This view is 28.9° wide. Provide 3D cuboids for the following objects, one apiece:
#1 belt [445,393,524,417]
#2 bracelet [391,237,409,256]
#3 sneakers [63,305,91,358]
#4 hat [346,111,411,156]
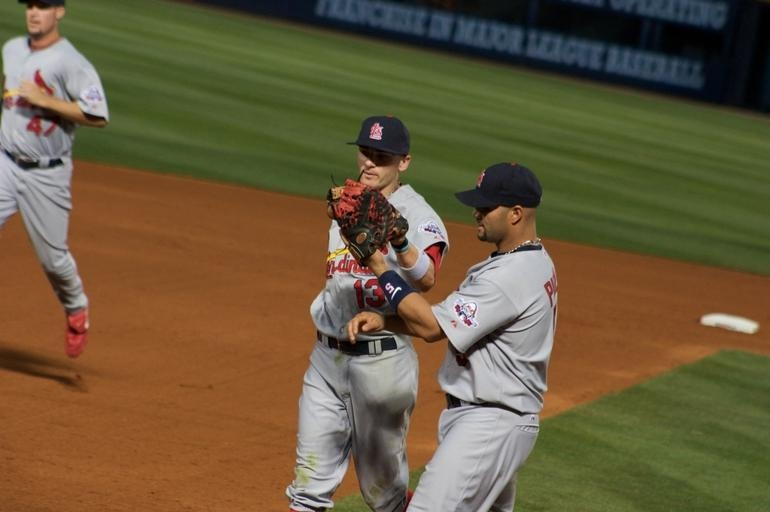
[{"bbox_3d":[0.965,1.546,15.409,0.461,0.109,0.345,10,-3,-4],"label":"belt"},{"bbox_3d":[0.172,-0.083,15.596,0.174,0.112,0.141,6,9,21],"label":"bracelet"},{"bbox_3d":[-3.653,0.886,17.681,0.227,0.630,0.257,1,17,-26],"label":"sneakers"},{"bbox_3d":[0.057,-1.299,16.077,0.387,0.287,0.525,14,7,38],"label":"hat"}]
